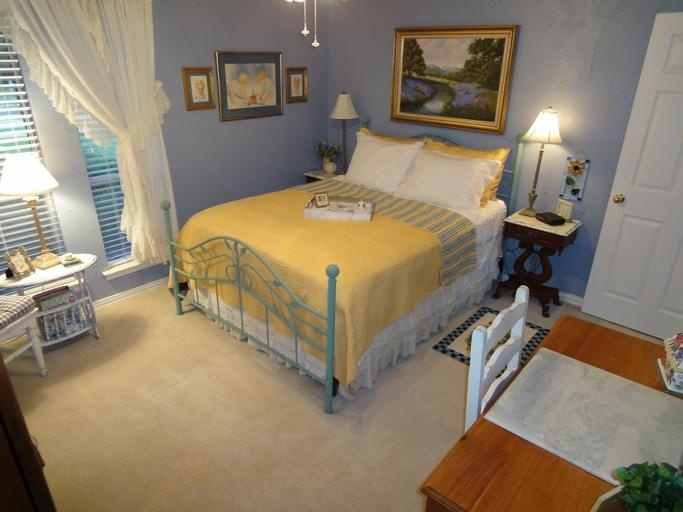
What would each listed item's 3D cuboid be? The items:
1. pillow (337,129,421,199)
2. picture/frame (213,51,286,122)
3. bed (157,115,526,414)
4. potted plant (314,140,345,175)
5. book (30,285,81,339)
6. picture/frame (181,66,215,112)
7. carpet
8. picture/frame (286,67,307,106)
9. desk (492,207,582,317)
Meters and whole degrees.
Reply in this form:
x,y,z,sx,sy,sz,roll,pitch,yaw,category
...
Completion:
x,y,z,sx,sy,sz,roll,pitch,yaw,category
0.399,-0.923,4.881,0.683,0.631,0.167,26,2,44,pillow
-0.983,-1.766,4.979,0.048,0.617,0.726,22,31,40,picture/frame
0.063,-0.202,4.568,2.244,1.475,2.671,18,28,37,bed
-0.177,-1.204,5.791,0.392,0.500,0.388,13,21,34,potted plant
-2.263,0.456,3.808,0.196,0.382,0.265,28,38,32,book
-1.389,-1.609,4.603,0.027,0.401,0.370,20,31,37,picture/frame
1.200,0.689,3.965,0.578,0.006,0.672,17,36,33,carpet
-0.517,-1.915,5.412,0.025,0.380,0.349,19,29,33,picture/frame
1.771,0.042,4.306,0.634,0.898,0.454,21,37,40,desk
